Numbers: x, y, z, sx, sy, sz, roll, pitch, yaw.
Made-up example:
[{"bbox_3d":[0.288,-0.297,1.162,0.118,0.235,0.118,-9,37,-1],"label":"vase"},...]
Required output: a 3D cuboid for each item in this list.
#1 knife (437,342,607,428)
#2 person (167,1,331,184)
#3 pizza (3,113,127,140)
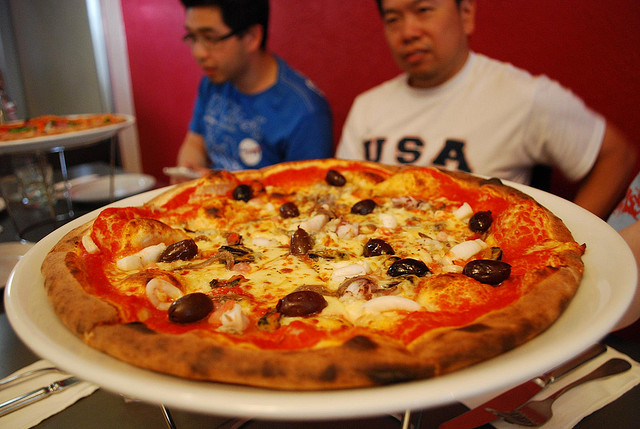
[{"bbox_3d":[0.685,0.605,1.710,0.781,0.075,0.107,-21,28,-17],"label":"knife"},{"bbox_3d":[-0.525,-1.033,4.057,1.003,1.581,1.429,-23,45,-27],"label":"person"},{"bbox_3d":[-1.586,-0.540,3.029,0.471,0.050,0.462,-2,22,13],"label":"pizza"}]
